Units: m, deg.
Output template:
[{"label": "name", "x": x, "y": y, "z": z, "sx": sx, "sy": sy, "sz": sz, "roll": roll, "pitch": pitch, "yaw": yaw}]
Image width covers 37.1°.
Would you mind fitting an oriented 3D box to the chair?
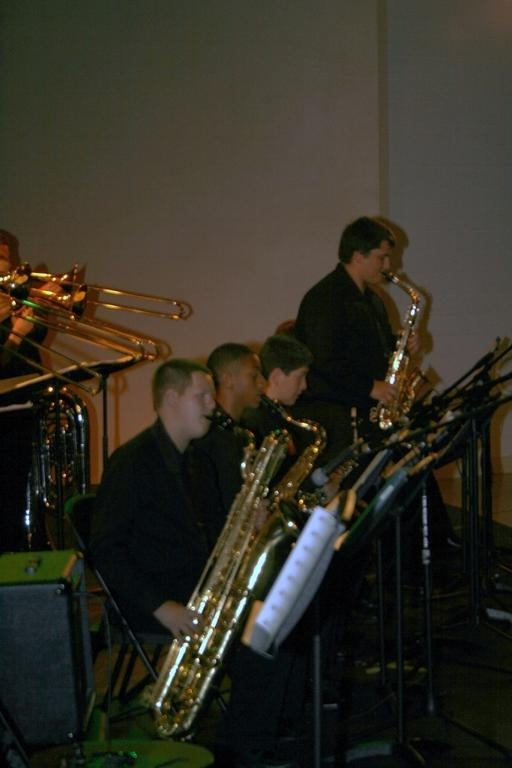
[{"label": "chair", "x": -0.415, "y": 0.755, "z": 2.480, "sx": 0.603, "sy": 0.807, "sz": 0.538, "roll": 1, "pitch": 11, "yaw": -10}]
